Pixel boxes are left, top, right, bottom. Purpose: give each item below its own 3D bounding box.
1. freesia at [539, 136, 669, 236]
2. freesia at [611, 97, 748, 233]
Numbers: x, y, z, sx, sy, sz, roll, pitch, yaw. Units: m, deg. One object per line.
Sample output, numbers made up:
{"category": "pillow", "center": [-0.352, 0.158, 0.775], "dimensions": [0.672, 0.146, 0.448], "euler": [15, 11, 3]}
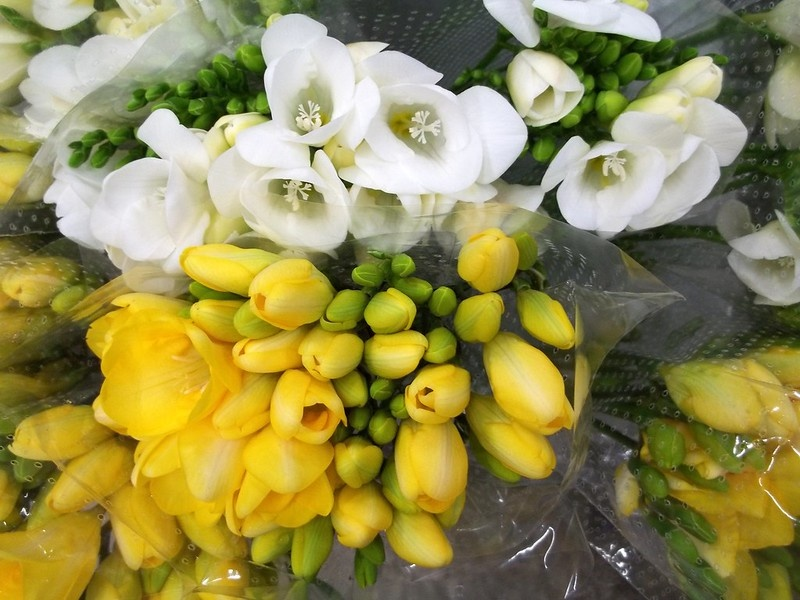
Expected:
{"category": "freesia", "center": [0.249, -0.149, 0.859], "dimensions": [0.127, 0.131, 0.061], "euler": [53, 22, -24]}
{"category": "freesia", "center": [0.324, -0.190, 0.886], "dimensions": [0.164, 0.151, 0.087], "euler": [-32, 28, 14]}
